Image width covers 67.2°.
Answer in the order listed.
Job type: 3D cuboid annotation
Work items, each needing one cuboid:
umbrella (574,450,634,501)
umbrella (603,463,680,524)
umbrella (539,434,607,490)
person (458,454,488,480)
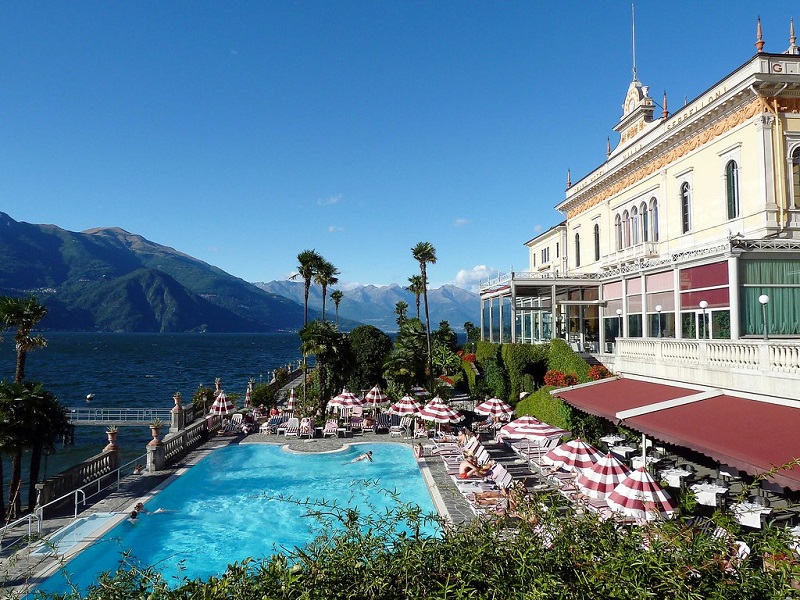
[{"bbox_3d":[6.610,5.668,19.185,1.449,0.782,1.460,-2,0,-15],"label":"umbrella"},{"bbox_3d":[7.223,5.554,17.703,1.846,1.140,1.886,-1,-8,-19],"label":"umbrella"},{"bbox_3d":[6.424,5.641,22.155,2.206,1.039,2.273,12,2,37],"label":"umbrella"},{"bbox_3d":[2.959,6.966,24.785,1.126,1.176,0.649,8,2,-1],"label":"person"}]
